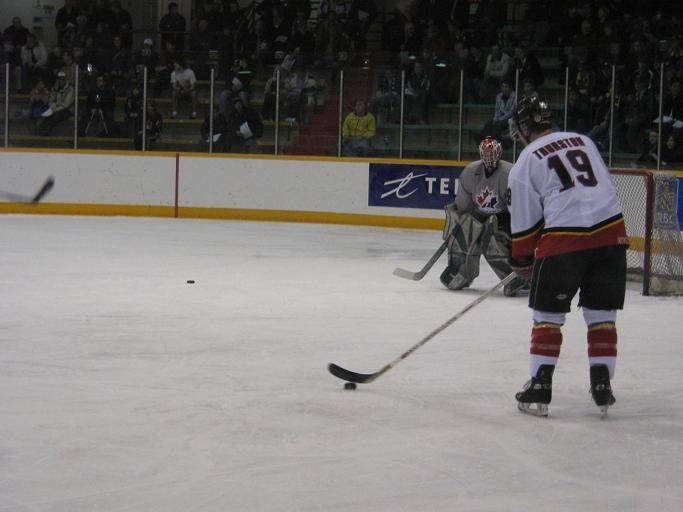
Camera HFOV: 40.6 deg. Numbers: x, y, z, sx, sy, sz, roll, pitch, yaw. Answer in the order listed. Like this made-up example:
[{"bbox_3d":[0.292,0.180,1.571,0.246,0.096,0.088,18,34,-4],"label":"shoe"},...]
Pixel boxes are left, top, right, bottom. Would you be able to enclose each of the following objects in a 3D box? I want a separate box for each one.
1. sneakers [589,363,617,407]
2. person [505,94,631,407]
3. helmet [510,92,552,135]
[{"bbox_3d":[1.308,0.639,4.562,0.137,0.218,0.107,1,10,-1],"label":"sneakers"},{"bbox_3d":[1.131,-0.004,4.642,0.601,1.576,0.458,4,11,15],"label":"person"},{"bbox_3d":[0.977,-0.734,4.810,0.182,0.196,0.224,0,17,-6],"label":"helmet"}]
